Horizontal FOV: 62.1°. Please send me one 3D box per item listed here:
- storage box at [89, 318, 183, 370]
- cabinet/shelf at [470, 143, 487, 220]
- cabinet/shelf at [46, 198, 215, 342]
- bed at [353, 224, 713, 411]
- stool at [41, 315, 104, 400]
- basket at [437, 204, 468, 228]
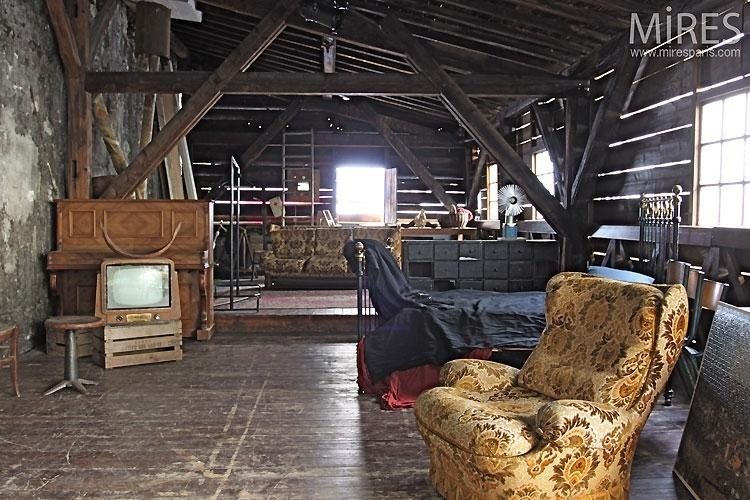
[{"bbox_3d":[-2.676,0.982,6.906,0.631,0.286,0.440,19,-32,-36],"label":"storage box"},{"bbox_3d":[2.107,-1.412,12.730,0.295,1.452,1.030,-2,4,-2],"label":"cabinet/shelf"},{"bbox_3d":[-2.983,0.236,7.649,1.778,1.631,0.960,-1,8,-14],"label":"cabinet/shelf"},{"bbox_3d":[1.141,0.556,6.029,2.535,1.084,1.660,0,2,-7],"label":"bed"},{"bbox_3d":[-3.044,1.051,6.149,0.628,0.642,0.623,1,-5,11],"label":"stool"},{"bbox_3d":[1.400,-0.634,10.692,0.497,0.359,0.523,-1,-3,-13],"label":"basket"}]
